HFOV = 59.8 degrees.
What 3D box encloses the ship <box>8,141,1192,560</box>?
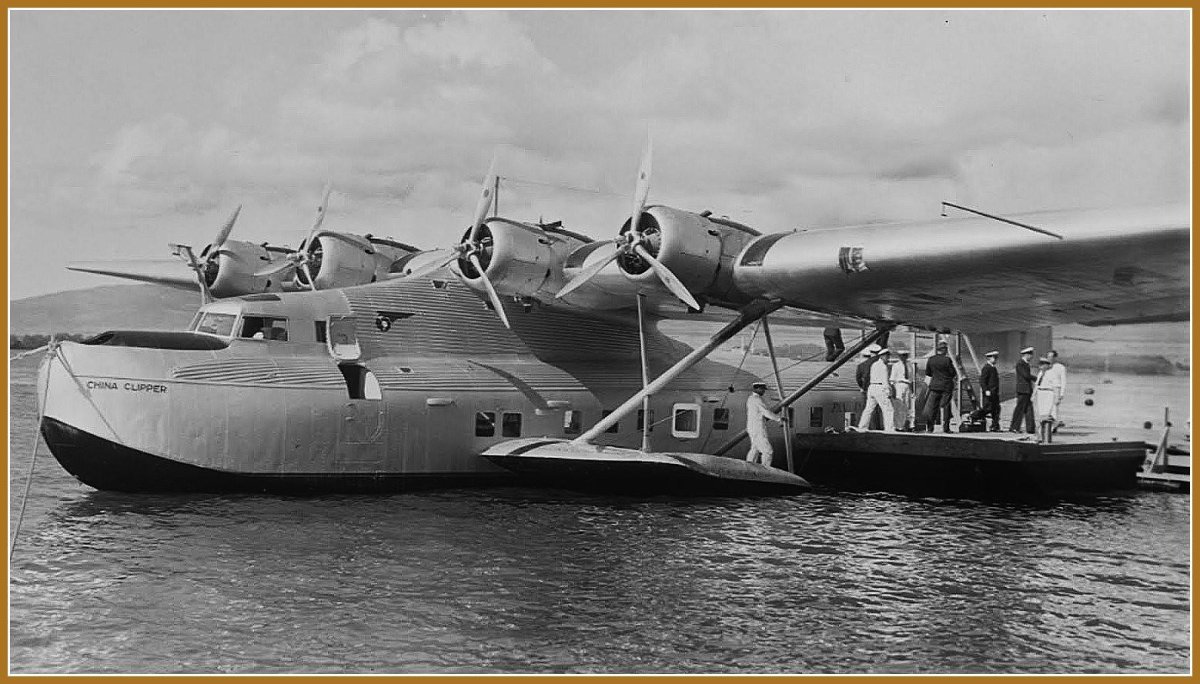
[{"bbox_3d":[-1.593,0.005,19.812,13.085,3.076,11.905,4,-7,-28],"label":"ship"}]
